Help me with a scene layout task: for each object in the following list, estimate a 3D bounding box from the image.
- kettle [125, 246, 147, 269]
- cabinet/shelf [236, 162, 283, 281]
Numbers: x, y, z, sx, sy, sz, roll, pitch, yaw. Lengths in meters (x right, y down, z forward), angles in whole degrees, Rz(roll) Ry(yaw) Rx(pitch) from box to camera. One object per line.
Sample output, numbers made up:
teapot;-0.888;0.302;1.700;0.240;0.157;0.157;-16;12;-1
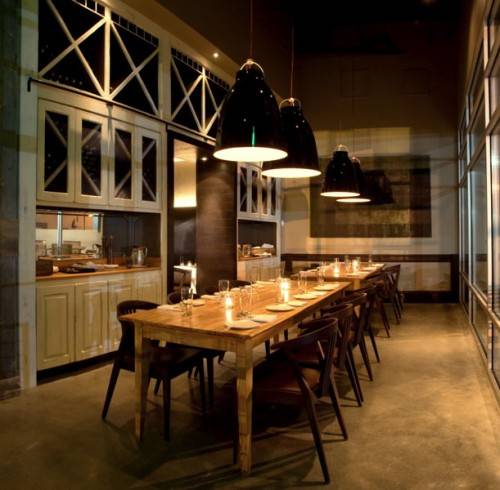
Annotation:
kettle;-1.261;0.142;5.075;0.203;0.212;0.173;0;-4;-4
cabinet/shelf;-0.033;-0.357;7.781;0.491;1.821;1.582;1;1;30
